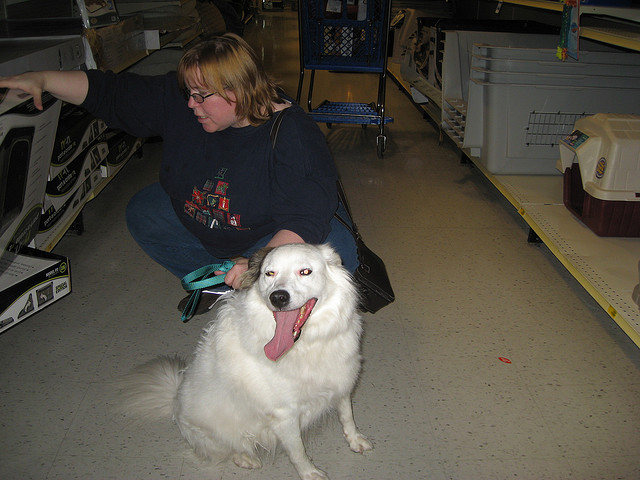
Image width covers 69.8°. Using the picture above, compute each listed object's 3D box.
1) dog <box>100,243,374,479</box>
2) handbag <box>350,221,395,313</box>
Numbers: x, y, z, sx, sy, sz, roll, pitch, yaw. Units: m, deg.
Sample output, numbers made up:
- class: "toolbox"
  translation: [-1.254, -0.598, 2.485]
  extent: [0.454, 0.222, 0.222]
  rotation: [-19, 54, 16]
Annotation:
- class: "dog"
  translation: [-0.105, 0.312, 2.261]
  extent: [1.390, 1.112, 0.861]
  rotation: [12, 34, 10]
- class: "handbag"
  translation: [0.247, 0.147, 2.278]
  extent: [0.105, 0.331, 0.269]
  rotation: [-26, -15, 9]
